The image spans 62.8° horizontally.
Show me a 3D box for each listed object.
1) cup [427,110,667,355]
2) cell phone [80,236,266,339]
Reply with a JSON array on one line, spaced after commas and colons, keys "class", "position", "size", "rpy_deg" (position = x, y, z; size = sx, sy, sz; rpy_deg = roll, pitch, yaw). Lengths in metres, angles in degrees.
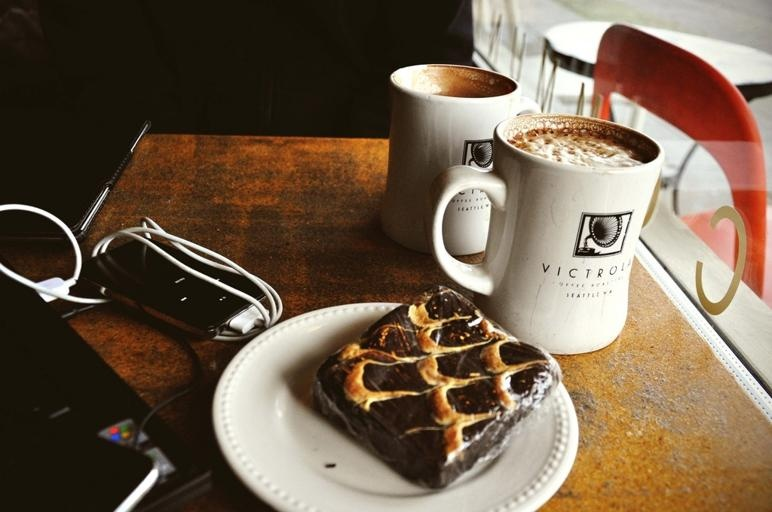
[{"class": "cup", "position": [0.146, -0.046, 0.738], "size": [0.278, 0.260, 0.183], "rpy_deg": [-7, 29, -10]}, {"class": "cell phone", "position": [-0.227, 0.029, 0.692], "size": [0.189, 0.026, 0.100], "rpy_deg": [26, 41, 14]}]
